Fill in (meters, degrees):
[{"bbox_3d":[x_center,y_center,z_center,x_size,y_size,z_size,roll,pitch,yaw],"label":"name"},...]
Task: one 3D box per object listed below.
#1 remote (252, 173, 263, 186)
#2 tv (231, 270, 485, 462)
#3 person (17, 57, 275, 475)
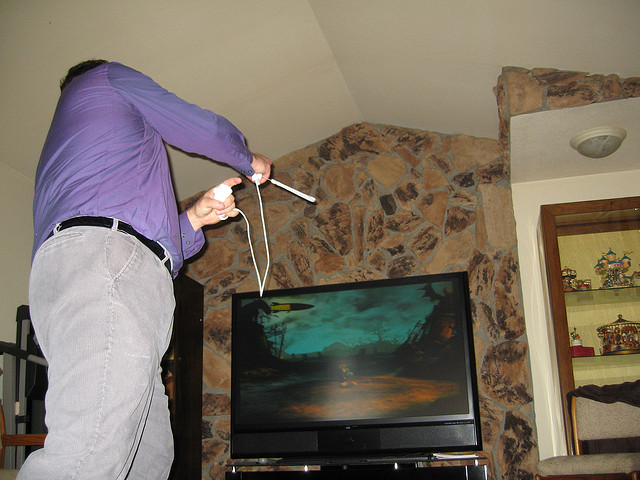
[{"bbox_3d":[-0.253,-0.246,2.240,0.040,0.040,0.011,6,18,-5],"label":"remote"},{"bbox_3d":[0.315,0.935,3.964,1.503,1.072,0.149,-5,-24,11],"label":"tv"},{"bbox_3d":[-0.625,0.044,1.899,0.630,1.386,0.294,4,-17,-28],"label":"person"}]
